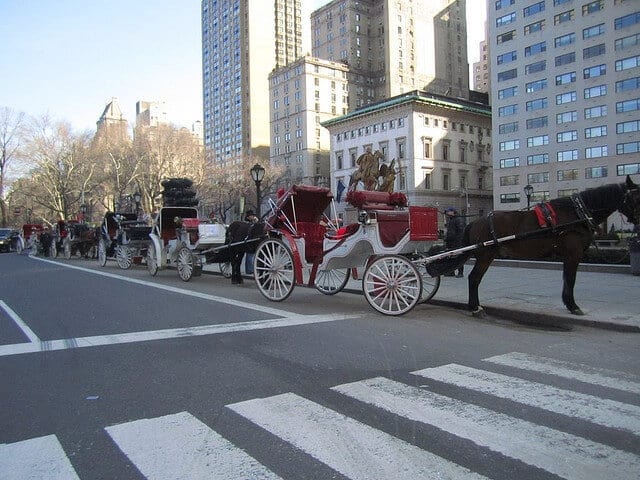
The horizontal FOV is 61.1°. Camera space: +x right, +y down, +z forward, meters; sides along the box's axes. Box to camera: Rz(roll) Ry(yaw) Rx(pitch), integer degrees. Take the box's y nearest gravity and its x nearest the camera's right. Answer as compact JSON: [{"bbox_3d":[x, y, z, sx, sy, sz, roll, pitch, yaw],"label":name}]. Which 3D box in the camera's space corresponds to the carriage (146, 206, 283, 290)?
[{"bbox_3d":[-3.595,0.202,17.823,2.331,1.953,3.887,1,0,-42],"label":"carriage"}]

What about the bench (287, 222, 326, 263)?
[{"bbox_3d":[-0.164,0.000,12.859,0.835,1.047,0.834,1,-3,-24],"label":"bench"}]
